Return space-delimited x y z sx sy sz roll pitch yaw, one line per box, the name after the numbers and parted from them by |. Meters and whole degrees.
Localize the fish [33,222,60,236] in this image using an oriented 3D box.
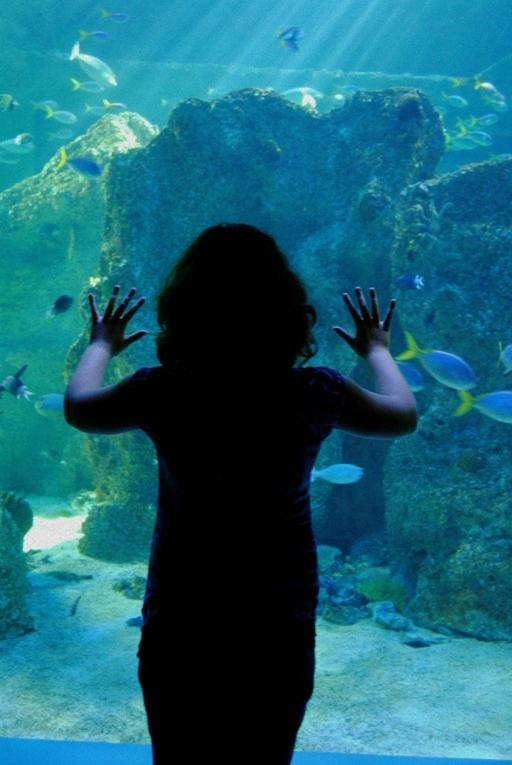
-4.483 -3.285 17.067 0.342 0.341 0.369 9 11 35 | fish

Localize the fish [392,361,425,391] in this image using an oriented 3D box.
1.599 -0.059 8.287 0.248 0.413 0.117 -4 24 44 | fish

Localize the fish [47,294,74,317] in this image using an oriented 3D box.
-2.851 -1.106 11.649 0.518 0.274 0.141 -18 -22 39 | fish
